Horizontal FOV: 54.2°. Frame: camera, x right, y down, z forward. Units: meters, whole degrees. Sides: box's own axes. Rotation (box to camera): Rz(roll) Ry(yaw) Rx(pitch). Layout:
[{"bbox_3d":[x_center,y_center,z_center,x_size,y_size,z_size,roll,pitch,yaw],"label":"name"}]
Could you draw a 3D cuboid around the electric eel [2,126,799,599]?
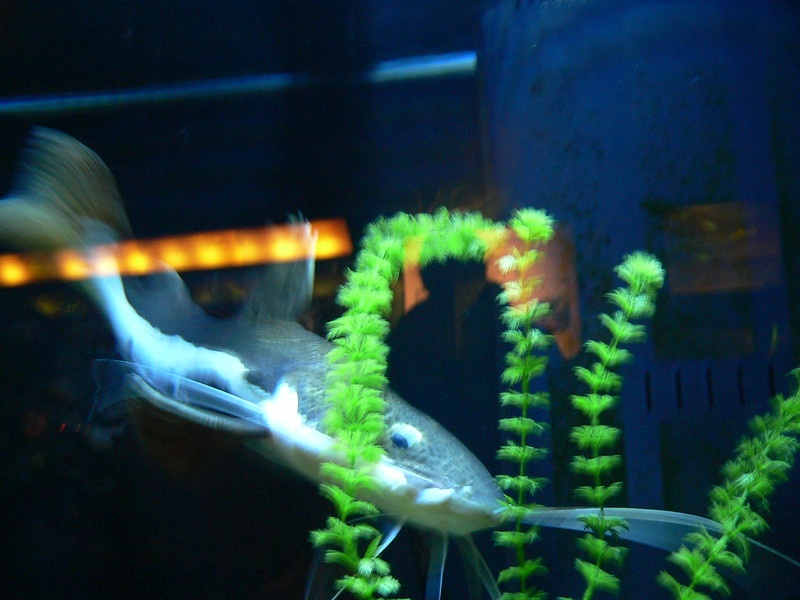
[{"bbox_3d":[-0.185,0.132,2.070,1.842,1.263,0.287,1,-11,-6],"label":"electric eel"}]
